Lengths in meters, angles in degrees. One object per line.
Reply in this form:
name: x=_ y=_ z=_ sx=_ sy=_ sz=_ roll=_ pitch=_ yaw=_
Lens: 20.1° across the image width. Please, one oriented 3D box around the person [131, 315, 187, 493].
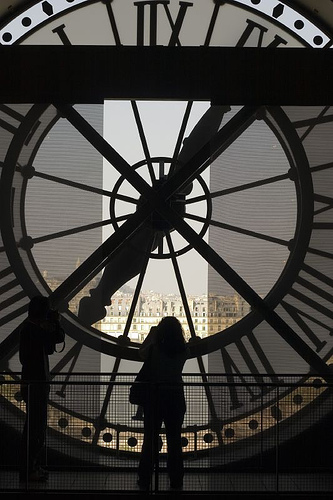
person: x=-0.056 y=1.166 z=7.839 sx=0.465 sy=1.511 sz=0.617 roll=0 pitch=-35 yaw=-1
